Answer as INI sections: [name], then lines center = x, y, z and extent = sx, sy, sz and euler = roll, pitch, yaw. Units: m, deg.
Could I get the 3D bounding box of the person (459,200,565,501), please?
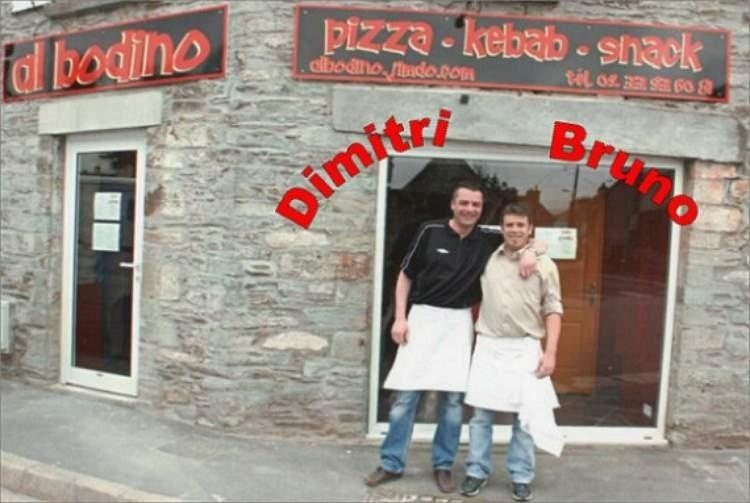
[person]
center = 1.287, 0.917, 8.102
extent = 0.870, 2.651, 0.508
euler = 4, -6, 5

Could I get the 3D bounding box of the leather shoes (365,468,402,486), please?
[leather shoes]
center = 0.102, 2.076, 8.241
extent = 0.393, 0.150, 0.124
euler = 6, -7, -29

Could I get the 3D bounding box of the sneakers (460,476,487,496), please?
[sneakers]
center = 0.895, 2.132, 8.142
extent = 0.128, 0.110, 0.267
euler = 3, 0, 37
